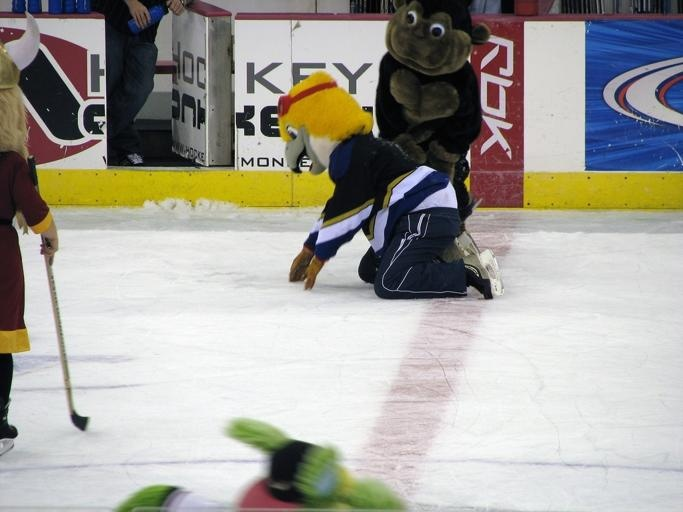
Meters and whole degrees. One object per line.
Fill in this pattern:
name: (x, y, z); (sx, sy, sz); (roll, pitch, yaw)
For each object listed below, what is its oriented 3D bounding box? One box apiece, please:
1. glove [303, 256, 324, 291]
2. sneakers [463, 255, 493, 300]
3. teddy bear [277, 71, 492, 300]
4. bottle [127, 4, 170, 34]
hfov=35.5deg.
glove: (-0.137, 0.072, 5.177); (0.067, 0.206, 0.052); (18, 5, -1)
sneakers: (0.643, 0.095, 5.110); (0.104, 0.174, 0.222); (-3, 13, -10)
teddy bear: (0.219, -0.361, 5.173); (1.078, 1.058, 0.521); (0, 13, 2)
bottle: (-1.594, -1.977, 8.799); (0.250, 0.236, 0.349); (11, 17, 43)
